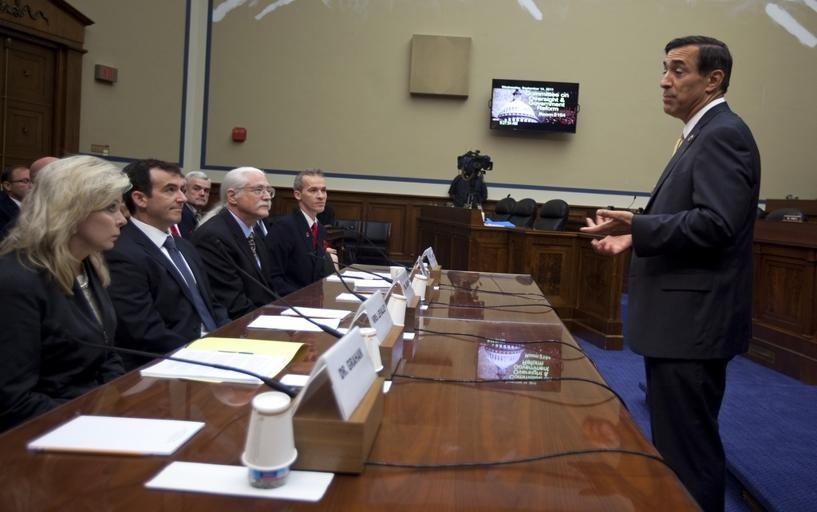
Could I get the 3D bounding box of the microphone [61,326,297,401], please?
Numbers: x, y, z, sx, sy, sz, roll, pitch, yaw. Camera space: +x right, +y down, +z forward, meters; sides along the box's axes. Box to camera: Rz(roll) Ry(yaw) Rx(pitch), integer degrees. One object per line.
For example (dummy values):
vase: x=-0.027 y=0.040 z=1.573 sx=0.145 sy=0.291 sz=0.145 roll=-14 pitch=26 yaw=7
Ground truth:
microphone: x=-0.774 y=0.362 z=1.780 sx=0.769 sy=0.035 sz=0.119 roll=11 pitch=13 yaw=16

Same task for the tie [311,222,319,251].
tie: x=-0.685 y=-0.154 z=3.836 sx=0.035 sy=0.162 sz=0.085 roll=0 pitch=0 yaw=34

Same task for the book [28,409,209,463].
book: x=-0.751 y=0.469 z=1.370 sx=0.365 sy=0.027 sz=0.280 roll=-5 pitch=3 yaw=9

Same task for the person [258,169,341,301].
person: x=-0.737 y=-0.199 z=3.812 sx=0.513 sy=0.822 sz=0.432 roll=-9 pitch=16 yaw=-42

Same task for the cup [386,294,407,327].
cup: x=-0.047 y=0.211 z=2.066 sx=0.086 sy=0.092 sz=0.101 roll=14 pitch=27 yaw=5

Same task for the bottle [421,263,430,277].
bottle: x=0.094 y=0.075 z=3.034 sx=0.046 sy=0.076 sz=0.075 roll=0 pitch=-8 yaw=8

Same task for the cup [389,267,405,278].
cup: x=-0.061 y=0.080 z=2.954 sx=0.072 sy=0.076 sz=0.075 roll=0 pitch=0 yaw=0

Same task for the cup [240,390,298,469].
cup: x=-0.330 y=0.420 z=1.272 sx=0.134 sy=0.141 sz=0.140 roll=2 pitch=1 yaw=0

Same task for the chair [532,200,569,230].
chair: x=1.561 y=-0.457 z=5.818 sx=0.300 sy=0.302 sz=0.750 roll=4 pitch=15 yaw=12

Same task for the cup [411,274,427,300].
cup: x=0.054 y=0.159 z=2.623 sx=0.097 sy=0.168 sz=0.103 roll=0 pitch=0 yaw=0

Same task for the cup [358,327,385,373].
cup: x=-0.108 y=0.295 z=1.673 sx=0.083 sy=0.116 sz=0.085 roll=-4 pitch=2 yaw=0
